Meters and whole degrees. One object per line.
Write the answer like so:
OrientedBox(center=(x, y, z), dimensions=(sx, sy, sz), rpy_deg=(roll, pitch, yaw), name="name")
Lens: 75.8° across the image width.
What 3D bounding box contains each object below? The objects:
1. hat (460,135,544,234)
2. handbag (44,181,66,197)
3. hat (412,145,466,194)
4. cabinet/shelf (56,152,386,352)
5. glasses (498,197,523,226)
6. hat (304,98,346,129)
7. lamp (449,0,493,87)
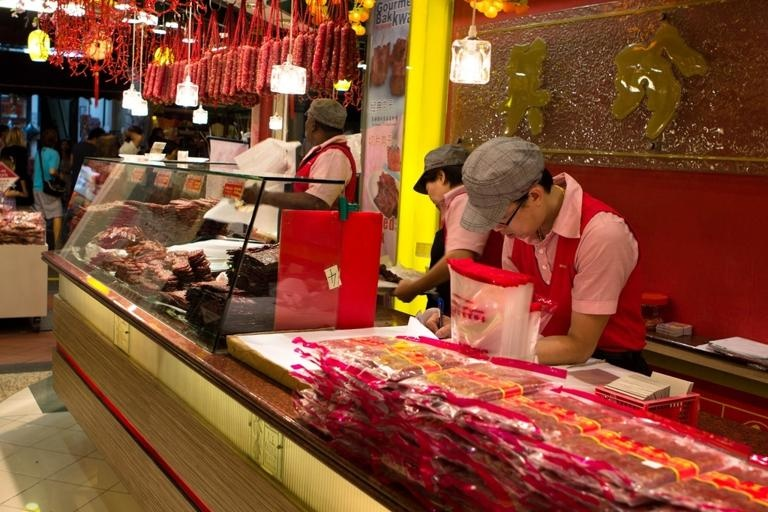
OrientedBox(center=(0.430, -0.261, 1.825), dimensions=(0.276, 0.358, 0.182), rpy_deg=(3, 8, -31), name="hat")
OrientedBox(center=(-5.817, -1.184, 8.777), dimensions=(0.299, 0.264, 0.240), rpy_deg=(40, 13, 13), name="handbag")
OrientedBox(center=(0.454, -0.609, 3.427), dimensions=(0.403, 0.200, 0.278), rpy_deg=(-17, 9, -23), name="hat")
OrientedBox(center=(-1.176, -0.133, 3.016), dimensions=(2.282, 0.728, 0.980), rpy_deg=(13, 8, 41), name="cabinet/shelf")
OrientedBox(center=(0.495, -0.167, 1.885), dimensions=(0.026, 0.085, 0.084), rpy_deg=(24, 2, 15), name="glasses")
OrientedBox(center=(-0.477, -1.150, 3.897), dimensions=(0.400, 0.192, 0.304), rpy_deg=(20, 27, 23), name="hat")
OrientedBox(center=(0.653, -1.528, 3.607), dimensions=(0.289, 0.505, 0.286), rpy_deg=(7, 6, 4), name="lamp")
